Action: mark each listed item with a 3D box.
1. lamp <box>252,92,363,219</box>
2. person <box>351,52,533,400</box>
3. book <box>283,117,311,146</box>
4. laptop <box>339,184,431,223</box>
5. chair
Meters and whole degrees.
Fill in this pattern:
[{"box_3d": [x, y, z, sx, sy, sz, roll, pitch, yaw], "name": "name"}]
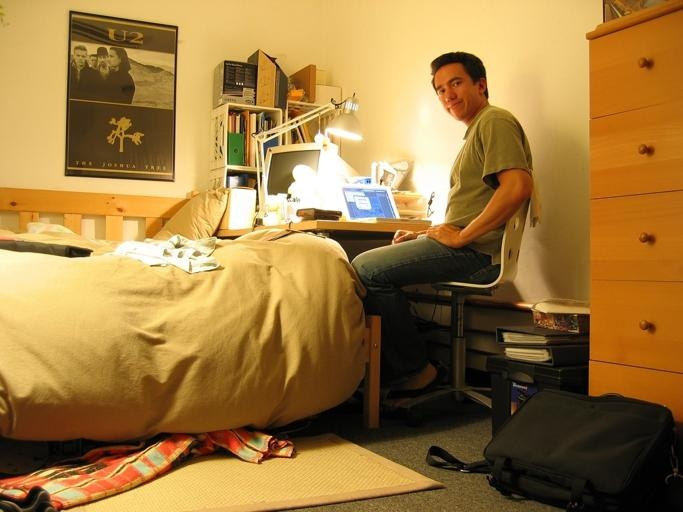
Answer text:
[{"box_3d": [-0.236, -0.630, 3.475, 0.714, 0.824, 0.293, -4, 35, -9], "name": "lamp"}, {"box_3d": [0.447, -0.131, 2.248, 0.736, 1.376, 0.611, -2, -9, 22], "name": "person"}, {"box_3d": [-0.298, -0.814, 3.722, 0.207, 0.276, 0.282, -1, 5, -5], "name": "book"}, {"box_3d": [0.166, -0.281, 2.839, 0.268, 0.162, 0.241, -1, 1, -32], "name": "laptop"}, {"box_3d": [0.491, 0.171, 2.156, 0.593, 0.843, 0.446, -4, 0, 20], "name": "chair"}]
